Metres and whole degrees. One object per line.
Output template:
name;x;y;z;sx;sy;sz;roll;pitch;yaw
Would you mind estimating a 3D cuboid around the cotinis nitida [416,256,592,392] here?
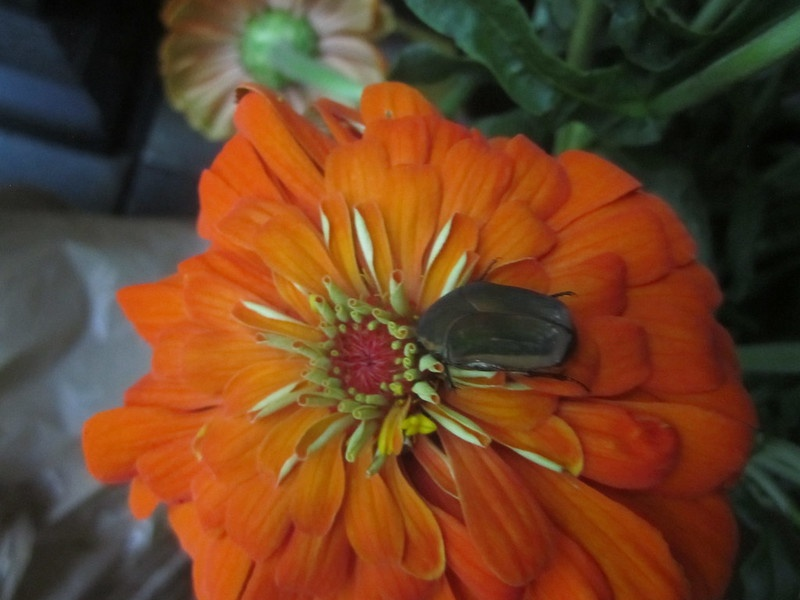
cotinis nitida;0.059;0.021;0.509;0.095;0.073;0.051;9;69;-7
